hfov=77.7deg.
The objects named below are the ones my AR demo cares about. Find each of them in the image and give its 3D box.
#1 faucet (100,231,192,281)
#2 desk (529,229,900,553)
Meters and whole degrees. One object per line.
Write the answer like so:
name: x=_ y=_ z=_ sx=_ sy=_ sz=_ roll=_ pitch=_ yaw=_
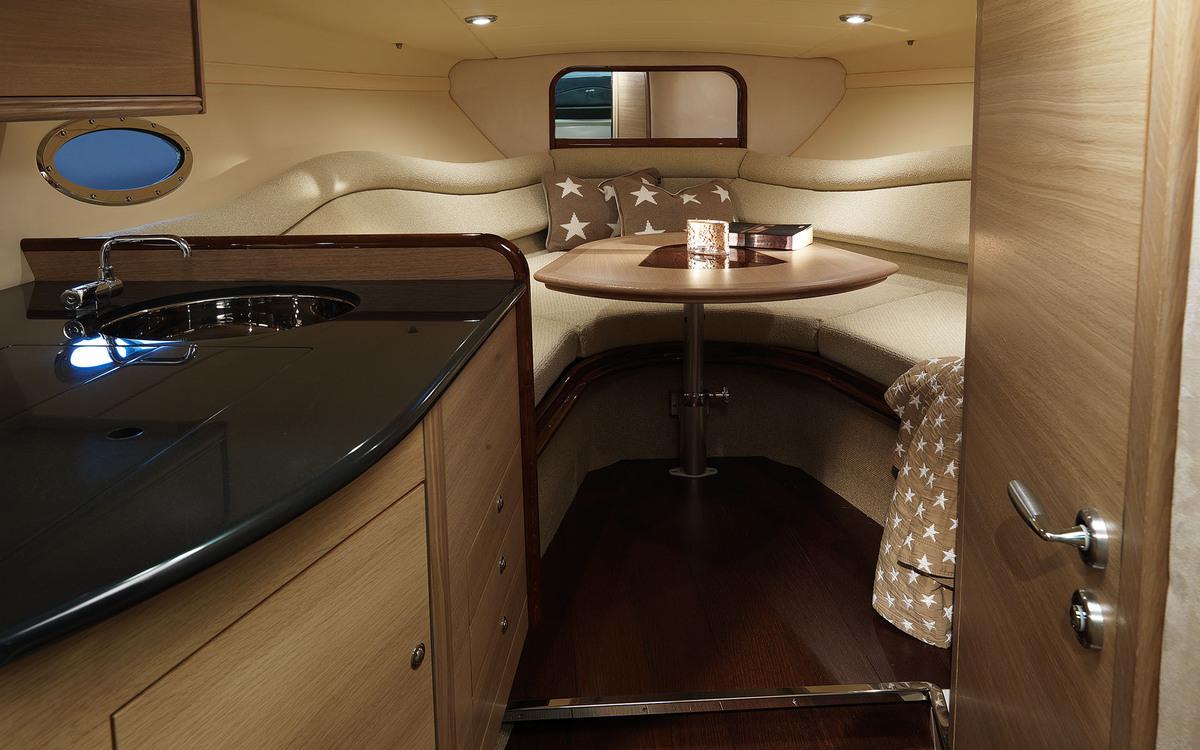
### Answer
faucet: x=-1.076 y=-0.279 z=1.780 sx=0.182 sy=0.113 sz=0.518 roll=-4 pitch=12 yaw=-30
desk: x=0.394 y=-0.006 z=2.870 sx=1.197 sy=1.071 sz=1.055 roll=2 pitch=10 yaw=2
